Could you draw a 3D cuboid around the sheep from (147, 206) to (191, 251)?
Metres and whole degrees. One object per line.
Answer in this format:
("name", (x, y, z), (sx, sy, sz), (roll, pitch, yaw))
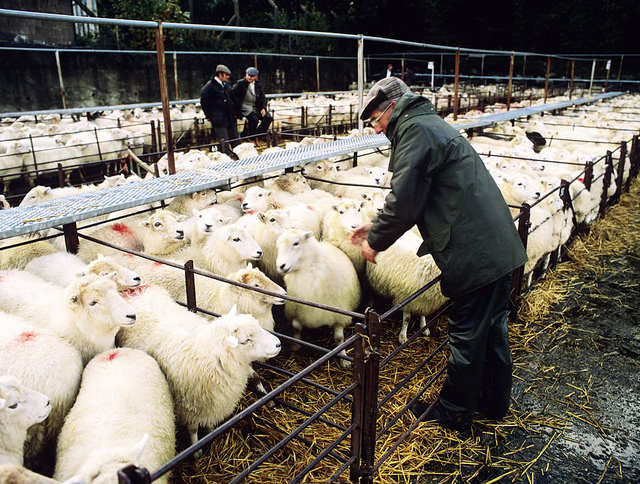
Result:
("sheep", (-1.782, -0.156, 5.533), (0.331, 0.416, 0.720), (-19, 22, -41))

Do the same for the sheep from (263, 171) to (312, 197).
("sheep", (-0.508, -0.924, 7.677), (0.708, 0.437, 0.403), (4, 29, -5))

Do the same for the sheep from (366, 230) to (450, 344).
("sheep", (1.162, 0.656, 5.490), (0.579, 0.885, 1.118), (14, 2, -26))

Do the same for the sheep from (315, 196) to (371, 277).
("sheep", (0.201, -0.296, 6.014), (0.511, 0.849, 1.105), (-10, 26, -5))

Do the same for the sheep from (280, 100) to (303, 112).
("sheep", (-1.097, -5.720, 19.865), (0.963, 0.472, 1.820), (7, 17, 9))

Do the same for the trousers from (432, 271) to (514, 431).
("trousers", (1.358, 0.951, 4.113), (0.701, 1.460, 0.301), (-9, 19, -19))

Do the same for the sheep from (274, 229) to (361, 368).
("sheep", (0.015, 0.594, 5.644), (0.951, 1.579, 1.936), (-2, 4, 16))

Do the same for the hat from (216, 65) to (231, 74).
("hat", (-2.108, -3.743, 10.252), (0.219, 0.146, 0.362), (15, 25, 39))

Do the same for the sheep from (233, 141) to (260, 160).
("sheep", (-1.554, -1.866, 9.802), (0.433, 0.262, 0.827), (-6, 20, -11))

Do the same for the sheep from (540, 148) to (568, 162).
("sheep", (5.082, -1.867, 10.195), (0.404, 0.239, 0.455), (-28, 27, -26))

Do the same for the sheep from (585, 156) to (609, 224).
("sheep", (5.068, -0.916, 8.664), (0.272, 1.339, 0.396), (5, 1, 36))

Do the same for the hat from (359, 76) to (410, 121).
("hat", (0.524, -1.279, 4.050), (0.429, 0.222, 0.294), (-17, 23, -11))

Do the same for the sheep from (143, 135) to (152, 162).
("sheep", (-4.865, -2.681, 13.310), (0.282, 0.495, 1.180), (-9, 20, -19))

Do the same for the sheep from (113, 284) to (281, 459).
("sheep", (-1.022, 1.104, 3.893), (1.404, 1.105, 0.620), (21, 35, 23))

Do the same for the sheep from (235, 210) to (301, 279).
("sheep", (-0.628, 0.054, 6.094), (0.651, 0.964, 1.389), (-5, 9, -25))

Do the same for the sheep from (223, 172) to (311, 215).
("sheep", (-0.769, -0.665, 6.781), (0.760, 0.403, 0.296), (-30, 48, -15))

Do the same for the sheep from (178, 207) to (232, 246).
("sheep", (-1.400, -0.035, 5.918), (0.453, 0.650, 1.137), (12, -4, -12))

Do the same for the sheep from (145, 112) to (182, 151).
("sheep", (-4.955, -3.614, 15.119), (1.014, 0.955, 3.654), (-9, 21, -19))

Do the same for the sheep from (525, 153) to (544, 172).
("sheep", (4.267, -1.564, 9.433), (0.176, 0.289, 0.594), (-5, 59, 10))

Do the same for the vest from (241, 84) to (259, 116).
("vest", (-1.782, -3.497, 11.779), (0.461, 0.629, 0.204), (-12, 7, -33))

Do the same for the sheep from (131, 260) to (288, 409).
("sheep", (-1.001, 0.859, 4.180), (1.718, 1.278, 0.582), (12, 32, 22))

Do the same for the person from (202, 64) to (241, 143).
("person", (-2.225, -2.981, 10.419), (0.704, 1.685, 1.310), (-5, 19, -10))
